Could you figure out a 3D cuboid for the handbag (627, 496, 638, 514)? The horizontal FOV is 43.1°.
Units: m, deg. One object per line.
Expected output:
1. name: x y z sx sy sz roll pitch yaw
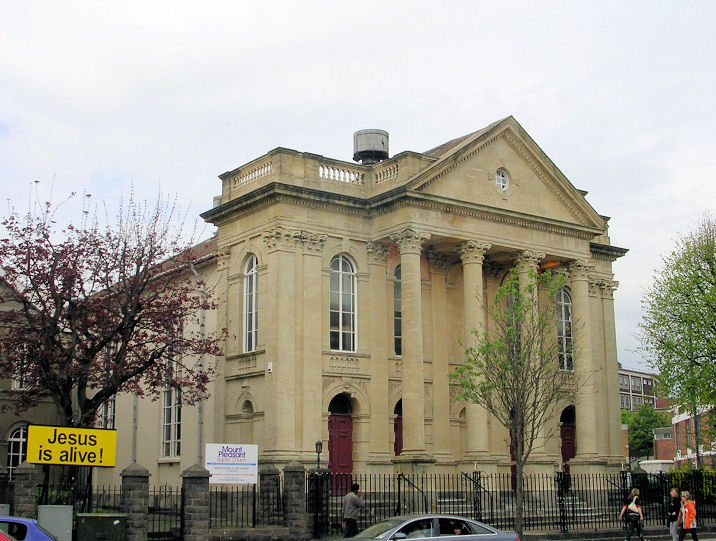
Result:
1. handbag: 9.106 7.781 30.229 0.357 0.535 0.657 -4 -17 14
